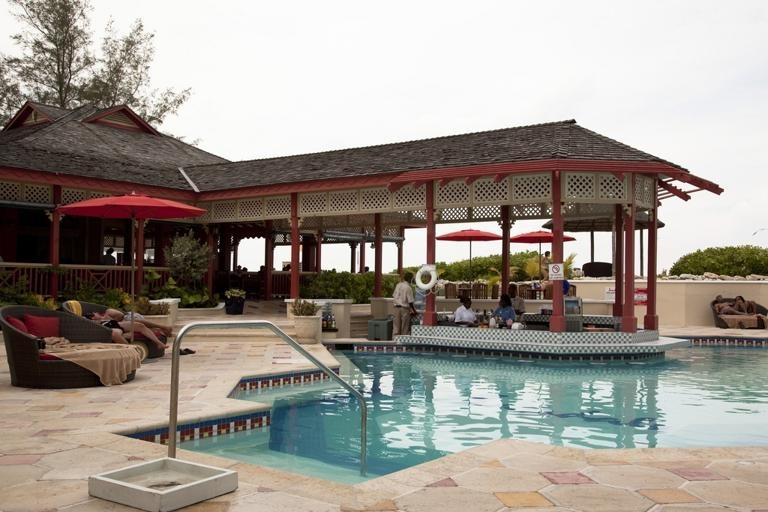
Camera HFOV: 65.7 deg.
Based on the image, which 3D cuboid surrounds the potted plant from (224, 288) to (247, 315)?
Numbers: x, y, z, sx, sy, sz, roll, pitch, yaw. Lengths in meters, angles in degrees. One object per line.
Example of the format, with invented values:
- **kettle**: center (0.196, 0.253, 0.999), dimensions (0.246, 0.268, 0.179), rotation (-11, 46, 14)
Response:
- **potted plant**: center (-5.175, 1.541, 20.796), dimensions (0.951, 0.896, 0.788), rotation (1, -4, -15)

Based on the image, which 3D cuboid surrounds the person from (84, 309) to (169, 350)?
- **person**: center (-5.741, 1.456, 13.314), dimensions (1.773, 0.727, 0.496), rotation (9, -23, -13)

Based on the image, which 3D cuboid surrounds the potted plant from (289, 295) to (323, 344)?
- **potted plant**: center (-2.300, 1.899, 17.807), dimensions (0.839, 1.299, 1.197), rotation (0, -5, -3)

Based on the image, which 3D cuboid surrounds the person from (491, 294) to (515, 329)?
- **person**: center (3.530, 1.683, 17.460), dimensions (0.739, 1.092, 0.631), rotation (-4, -10, 40)

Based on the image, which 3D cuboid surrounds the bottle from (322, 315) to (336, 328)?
- **bottle**: center (-1.729, 2.031, 18.650), dimensions (0.379, 0.350, 0.383), rotation (-1, -2, 28)

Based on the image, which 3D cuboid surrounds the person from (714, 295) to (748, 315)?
- **person**: center (13.399, 1.869, 22.948), dimensions (0.860, 0.365, 0.839), rotation (8, -7, -41)

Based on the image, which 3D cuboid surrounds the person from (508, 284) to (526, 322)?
- **person**: center (4.373, 1.528, 19.592), dimensions (0.483, 1.292, 0.589), rotation (-18, -35, 0)

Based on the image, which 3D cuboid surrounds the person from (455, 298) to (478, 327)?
- **person**: center (2.585, 1.679, 18.418), dimensions (0.721, 0.896, 1.046), rotation (-7, -9, 40)

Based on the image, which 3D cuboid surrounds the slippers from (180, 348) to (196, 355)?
- **slippers**: center (-4.805, 2.302, 14.617), dimensions (0.347, 0.126, 0.778), rotation (1, -5, -16)

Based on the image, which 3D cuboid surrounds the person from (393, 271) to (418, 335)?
- **person**: center (0.593, 1.428, 18.094), dimensions (0.683, 1.862, 0.810), rotation (-1, -6, 5)

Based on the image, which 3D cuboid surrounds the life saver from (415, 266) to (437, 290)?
- **life saver**: center (1.280, 0.577, 17.640), dimensions (0.613, 0.753, 0.537), rotation (-1, -6, 9)

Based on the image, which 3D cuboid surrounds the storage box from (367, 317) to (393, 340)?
- **storage box**: center (-0.131, 2.228, 18.508), dimensions (0.670, 0.621, 0.662), rotation (-2, -6, 17)
